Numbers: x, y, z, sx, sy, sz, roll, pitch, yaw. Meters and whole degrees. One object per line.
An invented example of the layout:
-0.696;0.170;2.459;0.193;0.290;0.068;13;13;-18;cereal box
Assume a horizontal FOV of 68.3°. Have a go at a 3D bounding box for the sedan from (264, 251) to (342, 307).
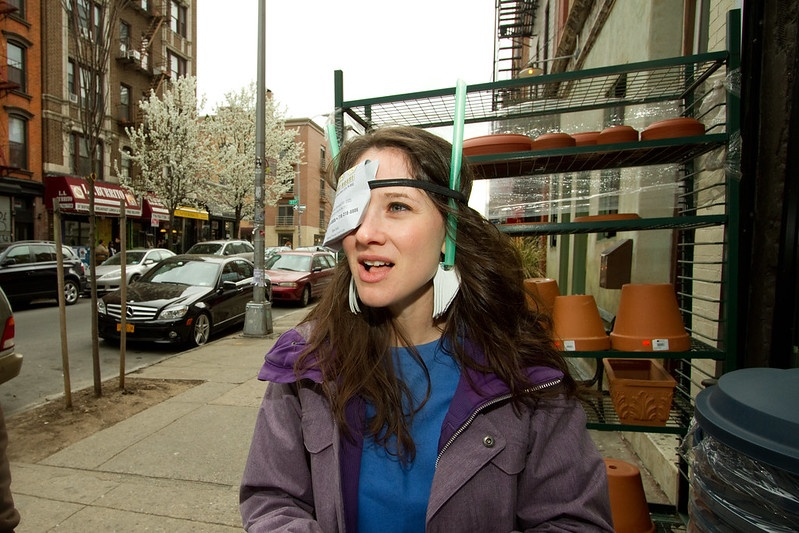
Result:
-2.725;0.276;16.655;1.541;1.221;3.296;-1;-1;13;sedan
